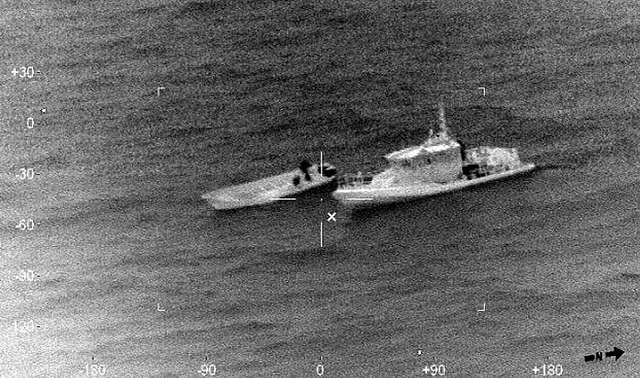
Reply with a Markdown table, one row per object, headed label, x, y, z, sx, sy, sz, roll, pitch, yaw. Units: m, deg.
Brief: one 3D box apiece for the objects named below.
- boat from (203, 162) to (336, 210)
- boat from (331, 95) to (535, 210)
| label | x | y | z | sx | sy | sz | roll | pitch | yaw |
| --- | --- | --- | --- | --- | --- | --- | --- | --- | --- |
| boat | -0.416 | -0.005 | 8.773 | 1.390 | 0.266 | 0.120 | -10 | -19 | 2 |
| boat | 1.052 | -0.264 | 8.989 | 2.272 | 0.651 | 0.529 | -8 | 29 | 2 |
